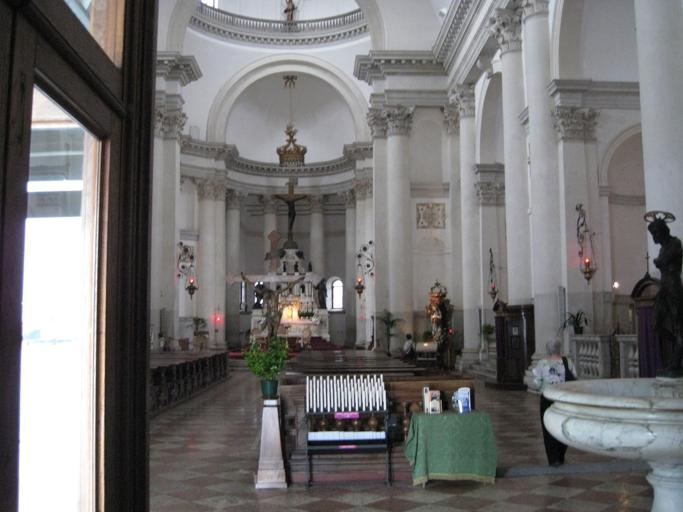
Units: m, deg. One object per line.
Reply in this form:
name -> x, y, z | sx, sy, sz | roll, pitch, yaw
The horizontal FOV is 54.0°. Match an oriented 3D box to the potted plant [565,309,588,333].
potted plant -> 4.222, 1.169, 12.069 | 0.359, 0.421, 0.353 | -2, -4, 16

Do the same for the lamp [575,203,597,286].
lamp -> 4.504, -0.247, 12.249 | 0.519, 1.484, 0.324 | 1, -4, -32

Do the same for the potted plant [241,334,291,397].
potted plant -> -0.772, 1.209, 7.161 | 0.460, 0.600, 0.431 | -2, -7, 23

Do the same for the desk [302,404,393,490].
desk -> 0.068, 1.840, 6.992 | 0.916, 0.936, 0.663 | 0, -14, -1

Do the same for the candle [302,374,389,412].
candle -> 0.034, 1.390, 6.803 | 0.817, 0.333, 0.364 | -1, -4, -5
